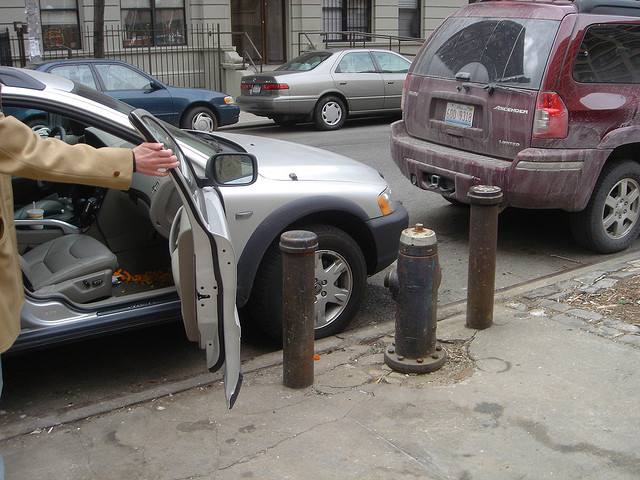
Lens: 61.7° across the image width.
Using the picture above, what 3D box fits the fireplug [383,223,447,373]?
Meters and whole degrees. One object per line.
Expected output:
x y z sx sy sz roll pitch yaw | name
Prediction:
0.592 0.420 3.646 0.356 1.036 0.415 -1 14 0 | fireplug

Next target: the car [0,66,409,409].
-0.502 -0.269 3.907 3.242 1.353 2.124 -9 18 -23 | car

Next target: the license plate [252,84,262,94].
-1.505 -3.540 12.621 0.263 0.216 0.049 12 24 34 | license plate

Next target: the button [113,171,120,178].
-0.912 -0.290 2.389 0.024 0.026 0.012 -11 21 -25 | button
